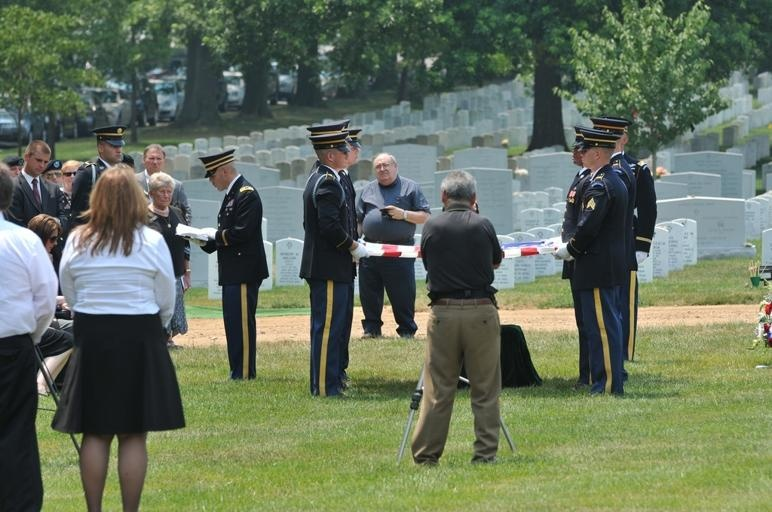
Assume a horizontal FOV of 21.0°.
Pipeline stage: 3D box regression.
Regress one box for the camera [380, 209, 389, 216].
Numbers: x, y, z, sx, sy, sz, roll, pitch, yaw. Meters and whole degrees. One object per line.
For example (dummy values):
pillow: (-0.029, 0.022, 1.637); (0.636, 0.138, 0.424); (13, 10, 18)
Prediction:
camera: (-0.017, -1.074, 53.883); (0.197, 0.101, 0.299); (2, -3, 4)
